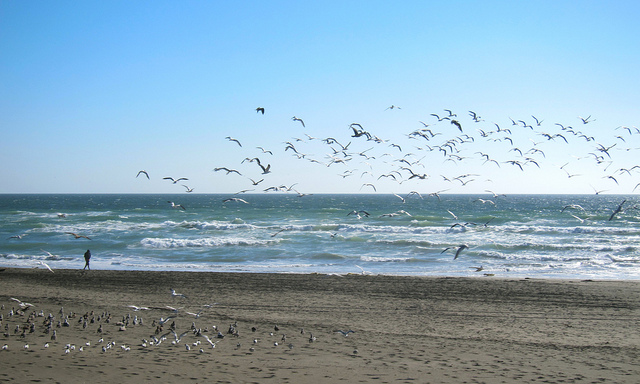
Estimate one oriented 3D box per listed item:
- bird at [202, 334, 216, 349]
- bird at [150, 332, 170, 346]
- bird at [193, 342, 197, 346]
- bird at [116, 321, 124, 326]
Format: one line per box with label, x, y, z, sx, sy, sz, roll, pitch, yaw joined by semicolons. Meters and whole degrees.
bird;-4.035;5.395;18.728;0.568;0.444;0.279;-34;-48;31
bird;-5.855;5.310;18.751;0.709;0.187;0.492;0;8;-7
bird;-4.509;5.478;18.588;0.129;0.116;0.094;11;14;37
bird;-7.740;5.091;19.974;0.240;0.073;0.238;0;1;-5
